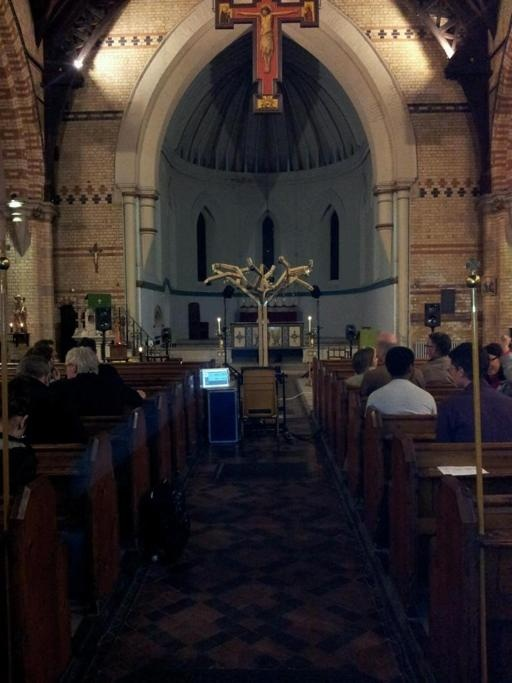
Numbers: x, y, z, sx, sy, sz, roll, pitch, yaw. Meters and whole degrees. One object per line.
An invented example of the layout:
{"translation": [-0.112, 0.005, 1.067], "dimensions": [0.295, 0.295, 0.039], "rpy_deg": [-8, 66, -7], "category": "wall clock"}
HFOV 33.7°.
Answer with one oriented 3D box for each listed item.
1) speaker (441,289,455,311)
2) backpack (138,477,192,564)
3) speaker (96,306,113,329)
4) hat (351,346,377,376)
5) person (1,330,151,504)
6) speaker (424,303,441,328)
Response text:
{"translation": [3.797, -0.756, 16.672], "dimensions": [0.270, 0.478, 0.501], "rpy_deg": [2, 6, 13], "category": "speaker"}
{"translation": [-0.587, 1.261, 6.012], "dimensions": [0.243, 0.497, 0.317], "rpy_deg": [0, -9, 9], "category": "backpack"}
{"translation": [-2.997, -0.396, 16.559], "dimensions": [0.318, 0.483, 0.860], "rpy_deg": [-1, 6, -11], "category": "speaker"}
{"translation": [1.033, 0.201, 8.182], "dimensions": [0.171, 0.284, 0.273], "rpy_deg": [-4, -36, -1], "category": "hat"}
{"translation": [-1.302, 0.543, 6.239], "dimensions": [1.031, 0.508, 1.586], "rpy_deg": [-1, 2, -6], "category": "person"}
{"translation": [3.132, -0.422, 14.949], "dimensions": [0.233, 0.442, 0.332], "rpy_deg": [1, 6, 5], "category": "speaker"}
